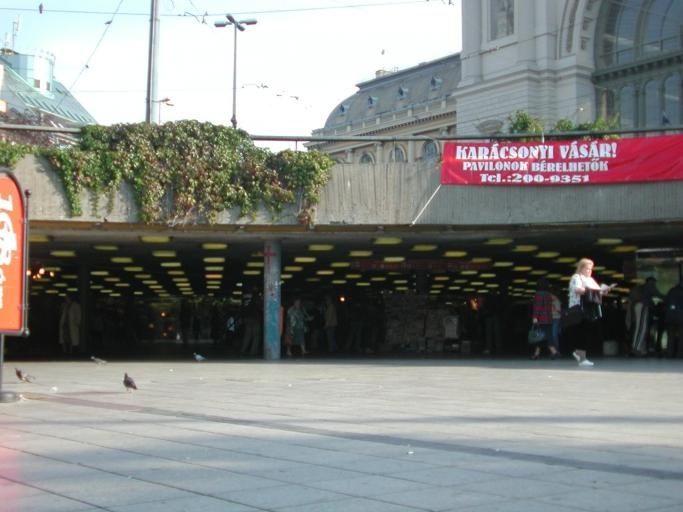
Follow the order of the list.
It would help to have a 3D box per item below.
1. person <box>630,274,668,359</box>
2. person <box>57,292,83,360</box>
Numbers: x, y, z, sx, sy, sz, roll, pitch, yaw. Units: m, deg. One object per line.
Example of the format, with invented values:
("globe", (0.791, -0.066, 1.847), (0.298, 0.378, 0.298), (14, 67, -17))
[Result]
("person", (8.014, 1.625, 25.682), (0.627, 2.079, 1.194), (-1, -4, 9))
("person", (-8.563, 2.179, 30.632), (0.572, 1.852, 1.185), (1, -4, -24))
